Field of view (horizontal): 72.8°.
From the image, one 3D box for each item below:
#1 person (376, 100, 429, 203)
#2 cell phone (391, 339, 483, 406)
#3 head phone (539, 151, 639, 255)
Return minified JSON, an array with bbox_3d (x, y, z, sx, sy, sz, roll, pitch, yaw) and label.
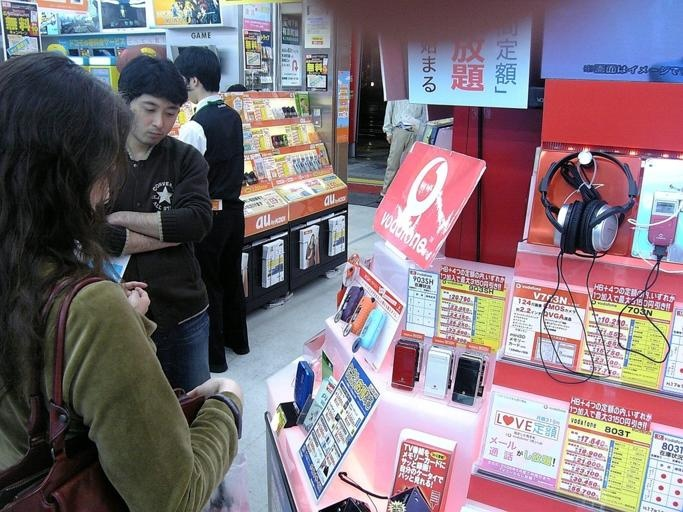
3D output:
[{"bbox_3d":[1.016,-1.755,7.646,0.683,1.533,1.142,1,20,5],"label":"person"},{"bbox_3d":[0.305,0.380,1.489,0.175,0.122,0.057,10,-1,26],"label":"cell phone"},{"bbox_3d":[0.625,-0.129,1.200,0.225,0.270,0.182,12,23,32],"label":"head phone"}]
